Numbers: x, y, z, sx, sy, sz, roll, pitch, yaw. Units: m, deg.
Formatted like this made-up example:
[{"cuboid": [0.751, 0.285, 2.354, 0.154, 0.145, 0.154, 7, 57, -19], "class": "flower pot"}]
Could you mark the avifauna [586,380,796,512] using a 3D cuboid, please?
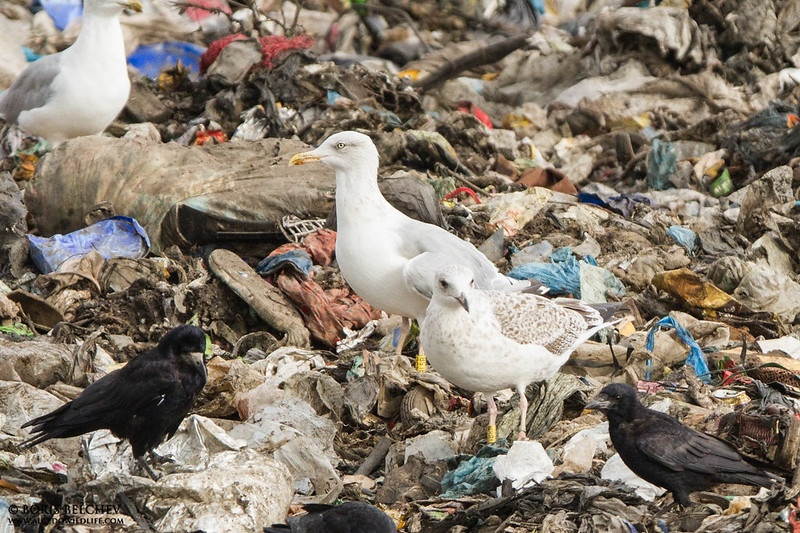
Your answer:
[{"cuboid": [2.536, 1.647, 11.770, 1.798, 0.561, 1.081, 2, 86, -12], "class": "avifauna"}]

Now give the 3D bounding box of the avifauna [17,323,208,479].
[{"cuboid": [-2.315, 1.230, 11.628, 1.489, 0.959, 0.696, -25, 62, -23], "class": "avifauna"}]
